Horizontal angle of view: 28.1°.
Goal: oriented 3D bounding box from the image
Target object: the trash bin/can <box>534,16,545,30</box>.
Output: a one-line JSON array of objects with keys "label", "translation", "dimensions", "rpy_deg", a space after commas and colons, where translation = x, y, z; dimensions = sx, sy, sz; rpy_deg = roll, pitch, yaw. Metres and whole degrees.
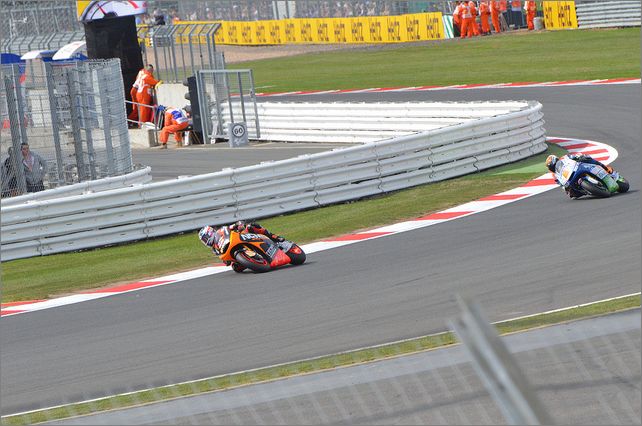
[{"label": "trash bin/can", "translation": [7.738, -6.683, 45.136], "dimensions": [0.503, 0.438, 0.468], "rpy_deg": [1, 7, 25]}]

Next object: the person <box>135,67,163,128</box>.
[{"label": "person", "translation": [-4.720, -3.238, 35.005], "dimensions": [0.659, 1.559, 0.735], "rpy_deg": [-10, 13, -7]}]

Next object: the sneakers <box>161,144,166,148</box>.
[{"label": "sneakers", "translation": [-4.053, -1.735, 33.305], "dimensions": [0.126, 0.104, 0.223], "rpy_deg": [-9, 12, -12]}]

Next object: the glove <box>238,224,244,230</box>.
[{"label": "glove", "translation": [-1.389, 0.243, 22.834], "dimensions": [0.153, 0.108, 0.045], "rpy_deg": [-17, 15, -42]}]

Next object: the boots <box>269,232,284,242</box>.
[{"label": "boots", "translation": [-0.784, 0.444, 23.034], "dimensions": [0.232, 0.112, 0.088], "rpy_deg": [20, -15, -15]}]

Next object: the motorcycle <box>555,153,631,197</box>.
[{"label": "motorcycle", "translation": [5.332, -0.671, 24.402], "dimensions": [0.925, 0.548, 1.673], "rpy_deg": [24, 14, 32]}]

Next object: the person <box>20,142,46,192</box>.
[{"label": "person", "translation": [-5.887, -0.965, 26.277], "dimensions": [0.185, 1.012, 0.608], "rpy_deg": [4, 17, 42]}]

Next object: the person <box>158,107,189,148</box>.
[{"label": "person", "translation": [-3.823, -2.275, 33.743], "dimensions": [0.912, 0.937, 0.773], "rpy_deg": [-10, 0, 12]}]

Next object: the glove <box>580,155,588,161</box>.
[{"label": "glove", "translation": [4.938, -1.025, 23.961], "dimensions": [0.135, 0.035, 0.117], "rpy_deg": [-2, 17, 0]}]
